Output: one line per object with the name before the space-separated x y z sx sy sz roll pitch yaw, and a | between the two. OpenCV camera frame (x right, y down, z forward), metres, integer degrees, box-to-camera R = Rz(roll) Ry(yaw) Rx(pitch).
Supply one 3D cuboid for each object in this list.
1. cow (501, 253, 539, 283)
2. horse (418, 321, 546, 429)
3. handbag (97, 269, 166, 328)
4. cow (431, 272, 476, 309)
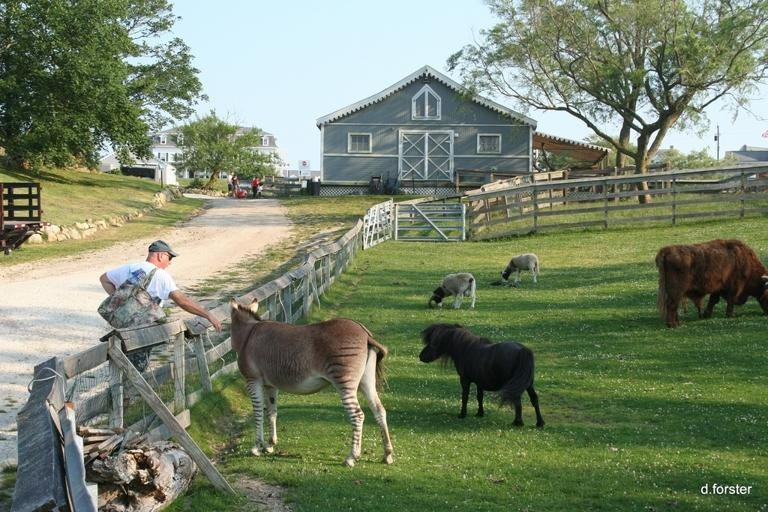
cow | 5.769 0.461 38.479 1.518 1.169 2.182 2 3 8
horse | 2.805 3.442 27.200 4.436 2.686 1.449 4 3 45
handbag | -7.060 1.398 25.517 1.367 0.882 1.713 0 39 0
cow | 2.648 1.272 35.175 1.809 1.310 1.819 2 3 4
